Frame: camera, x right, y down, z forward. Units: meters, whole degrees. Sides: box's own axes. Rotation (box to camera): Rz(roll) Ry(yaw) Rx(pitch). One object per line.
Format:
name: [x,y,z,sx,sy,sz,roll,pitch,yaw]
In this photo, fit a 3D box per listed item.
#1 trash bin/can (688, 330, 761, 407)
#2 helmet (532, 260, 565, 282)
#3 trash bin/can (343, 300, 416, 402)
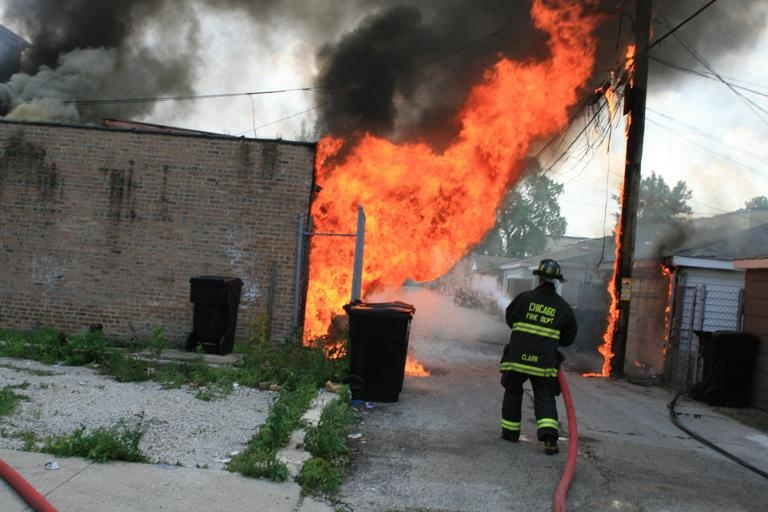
trash bin/can: [7.323,2.468,14.128,1.474,2.074,1.180,2,-2,9]
helmet: [2.741,0.237,11.245,0.353,0.267,0.489,6,-2,-7]
trash bin/can: [-0.111,1.800,12.764,1.685,2.124,1.530,2,6,5]
